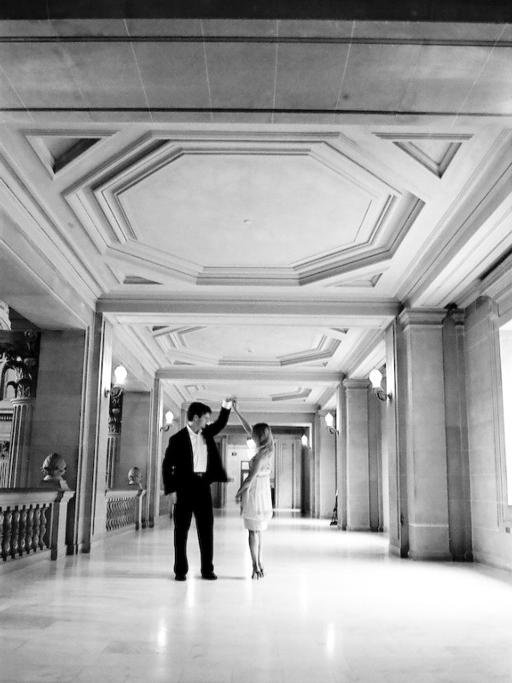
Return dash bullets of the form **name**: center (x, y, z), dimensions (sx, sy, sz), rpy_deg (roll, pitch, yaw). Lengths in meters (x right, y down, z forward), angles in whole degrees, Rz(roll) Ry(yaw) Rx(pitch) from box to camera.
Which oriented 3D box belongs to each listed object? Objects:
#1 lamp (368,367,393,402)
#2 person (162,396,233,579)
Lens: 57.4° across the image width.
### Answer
- **lamp**: center (2.255, 0.794, 8.422), dimensions (0.342, 0.623, 1.285), rpy_deg (-1, -6, 14)
- **person**: center (-0.611, 1.548, 4.859), dimensions (0.699, 1.882, 0.527), rpy_deg (1, -5, -8)
